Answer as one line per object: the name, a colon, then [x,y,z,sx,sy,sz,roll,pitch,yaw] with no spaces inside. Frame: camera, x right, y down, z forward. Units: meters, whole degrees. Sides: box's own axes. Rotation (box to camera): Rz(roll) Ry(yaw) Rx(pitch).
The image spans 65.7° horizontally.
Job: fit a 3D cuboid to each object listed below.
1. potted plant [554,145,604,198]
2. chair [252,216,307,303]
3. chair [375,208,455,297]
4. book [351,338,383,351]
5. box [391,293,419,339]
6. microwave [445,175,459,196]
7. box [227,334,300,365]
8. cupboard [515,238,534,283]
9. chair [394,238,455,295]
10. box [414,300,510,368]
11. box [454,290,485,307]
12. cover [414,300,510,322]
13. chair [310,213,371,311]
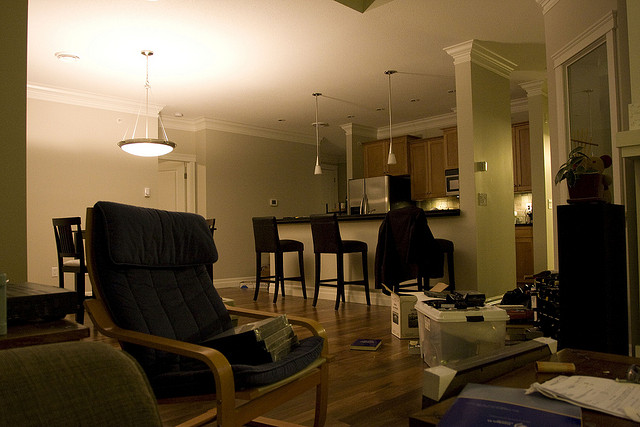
potted plant: [1.686,-0.240,3.185,0.336,0.339,0.331,-1,0,-44]
chair: [-0.542,0.589,6.550,0.488,1.048,0.576,-5,-7,41]
chair: [0.911,0.414,4.841,0.688,0.905,0.686,-3,-5,25]
book: [0.369,1.054,3.965,0.210,0.059,0.208,-5,2,23]
box: [0.754,0.874,4.233,0.294,0.349,0.273,1,-3,-5]
microwave: [2.074,-0.448,7.775,0.130,0.222,0.286,-6,2,-15]
box: [-0.285,0.719,2.527,0.381,0.114,0.239,-6,2,-7]
cupboard: [3.015,0.696,7.288,0.255,0.650,0.287,-5,2,21]
chair: [1.088,0.588,5.189,0.515,0.408,1.012,-5,2,26]
box: [0.940,0.773,3.472,0.450,0.413,0.665,1,-5,-16]
box: [1.044,0.583,3.405,0.098,0.069,0.141,1,-2,-12]
cover: [0.973,0.670,3.423,0.501,0.084,0.404,-6,2,-3]
chair: [0.256,0.584,5.801,0.583,1.190,0.556,2,-4,-43]
